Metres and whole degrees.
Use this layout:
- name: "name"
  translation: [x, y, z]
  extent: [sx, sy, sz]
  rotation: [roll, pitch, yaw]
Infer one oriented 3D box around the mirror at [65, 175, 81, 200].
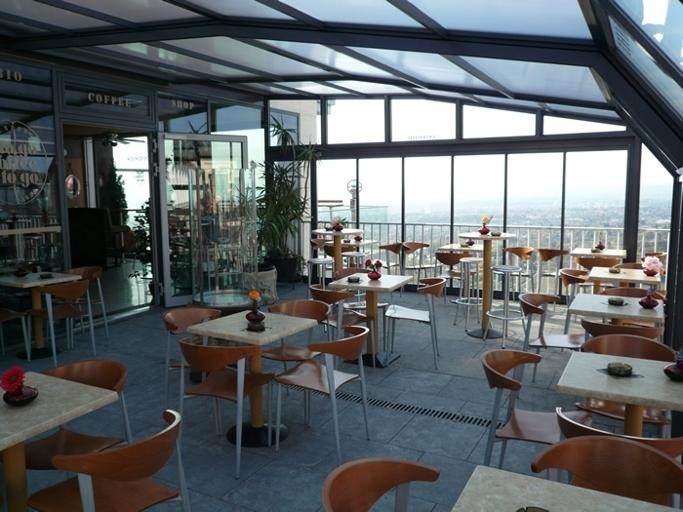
- name: "mirror"
  translation: [-4.691, -1.202, 9.095]
  extent: [0.224, 0.457, 0.790]
  rotation: [-7, 13, -25]
